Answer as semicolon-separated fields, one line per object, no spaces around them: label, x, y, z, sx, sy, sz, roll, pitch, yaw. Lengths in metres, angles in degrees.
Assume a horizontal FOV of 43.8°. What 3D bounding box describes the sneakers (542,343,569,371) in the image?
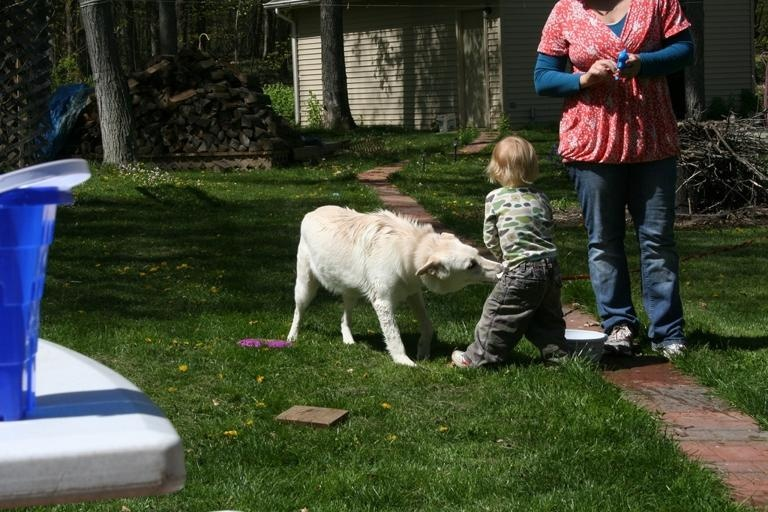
sneakers;1.430;0.844;7.974;0.170;0.169;0.231;1;-8;-30

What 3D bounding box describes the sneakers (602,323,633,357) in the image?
sneakers;2.009;0.729;8.182;0.253;0.255;0.606;0;-6;13

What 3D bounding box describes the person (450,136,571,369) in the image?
person;1.100;-0.007;7.959;0.853;1.881;0.382;-1;9;8
